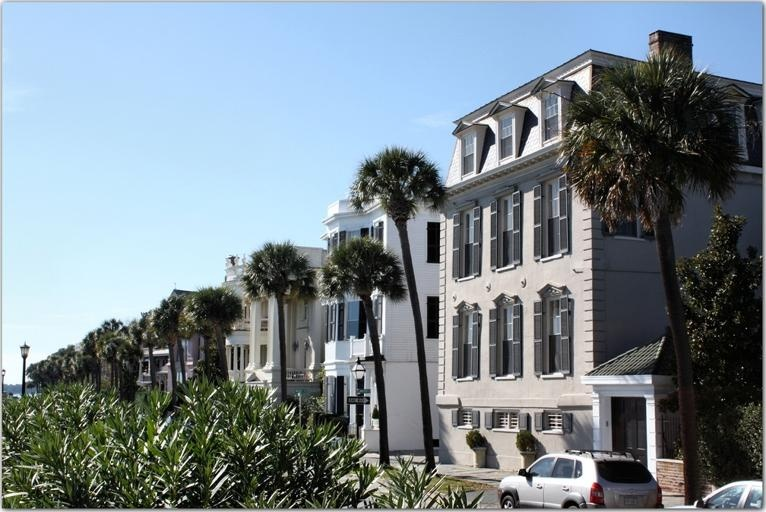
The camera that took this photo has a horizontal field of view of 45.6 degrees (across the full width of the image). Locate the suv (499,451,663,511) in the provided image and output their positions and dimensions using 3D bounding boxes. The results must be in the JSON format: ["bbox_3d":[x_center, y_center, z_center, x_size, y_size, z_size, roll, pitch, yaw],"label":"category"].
[{"bbox_3d":[5.425,6.219,25.328,3.970,1.575,1.658,-7,-13,21],"label":"suv"}]
